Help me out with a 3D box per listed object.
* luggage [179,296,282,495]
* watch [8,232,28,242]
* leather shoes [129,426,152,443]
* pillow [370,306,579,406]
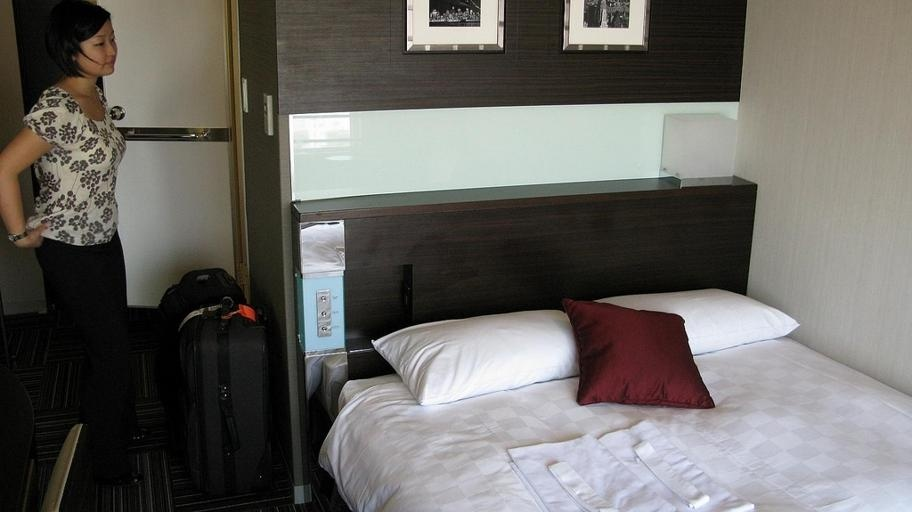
[{"bbox_3d":[-1.287,0.841,3.405,0.489,1.042,0.298,-7,18,-17],"label":"luggage"},{"bbox_3d":[-2.304,-0.102,3.175,0.075,0.025,0.070,8,14,28],"label":"watch"},{"bbox_3d":[-1.961,1.110,3.743,0.094,0.041,0.128,7,1,-42],"label":"leather shoes"},{"bbox_3d":[0.056,0.563,3.083,0.829,0.177,0.439,-3,23,-38],"label":"pillow"}]
